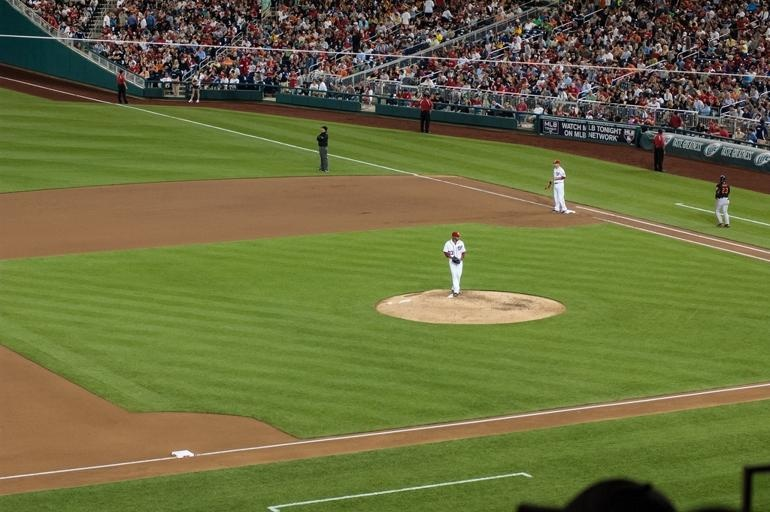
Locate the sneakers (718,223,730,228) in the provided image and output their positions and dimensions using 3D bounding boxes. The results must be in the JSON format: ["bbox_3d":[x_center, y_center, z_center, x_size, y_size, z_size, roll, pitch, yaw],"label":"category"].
[{"bbox_3d":[12.793,-1.118,43.390,0.467,0.125,0.148,3,8,14],"label":"sneakers"}]
